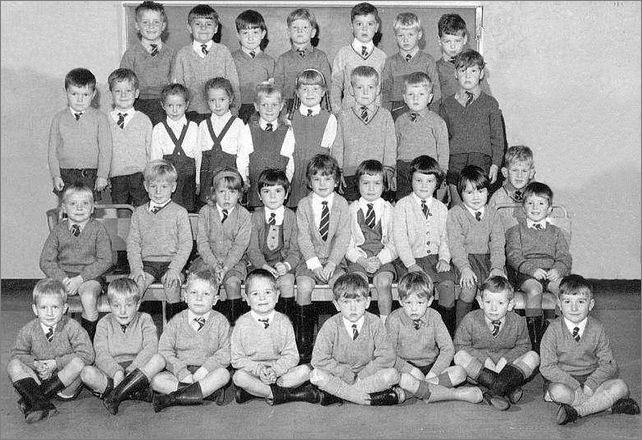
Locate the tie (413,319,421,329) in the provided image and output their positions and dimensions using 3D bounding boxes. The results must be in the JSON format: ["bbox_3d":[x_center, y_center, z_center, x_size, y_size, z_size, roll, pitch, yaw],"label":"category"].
[{"bbox_3d":[0.698,0.757,5.062,0.061,0.076,0.021,-1,-2,2],"label":"tie"}]

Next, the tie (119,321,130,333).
[{"bbox_3d":[-1.414,0.775,4.999,0.052,0.063,0.024,0,-3,-3],"label":"tie"}]

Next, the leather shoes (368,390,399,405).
[{"bbox_3d":[0.443,1.240,4.855,0.243,0.074,0.099,-3,9,-5],"label":"leather shoes"}]

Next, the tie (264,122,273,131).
[{"bbox_3d":[-0.451,-0.813,6.019,0.081,0.073,0.018,0,-4,3],"label":"tie"}]

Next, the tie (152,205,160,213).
[{"bbox_3d":[-1.330,-0.102,5.632,0.067,0.036,0.034,-2,-1,7],"label":"tie"}]

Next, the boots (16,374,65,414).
[{"bbox_3d":[-1.891,1.225,4.762,0.175,0.289,0.303,-36,-48,12],"label":"boots"}]

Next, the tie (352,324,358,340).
[{"bbox_3d":[0.241,0.800,4.937,0.063,0.098,0.024,0,-9,1],"label":"tie"}]

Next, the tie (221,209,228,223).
[{"bbox_3d":[-0.779,-0.041,5.627,0.054,0.094,0.024,2,-8,4],"label":"tie"}]

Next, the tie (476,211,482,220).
[{"bbox_3d":[1.280,-0.038,5.635,0.050,0.061,0.015,-1,-3,-9],"label":"tie"}]

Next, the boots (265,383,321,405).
[{"bbox_3d":[-0.185,1.218,4.836,0.388,0.126,0.163,-1,1,0],"label":"boots"}]

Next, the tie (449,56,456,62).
[{"bbox_3d":[1.248,-1.522,6.544,0.063,0.023,0.080,9,-37,-4],"label":"tie"}]

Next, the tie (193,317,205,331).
[{"bbox_3d":[-0.876,0.750,5.008,0.108,0.093,0.018,-1,1,-2],"label":"tie"}]

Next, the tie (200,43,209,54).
[{"bbox_3d":[-1.091,-1.624,6.529,0.059,0.088,0.022,-34,8,-7],"label":"tie"}]

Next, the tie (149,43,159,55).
[{"bbox_3d":[-1.587,-1.634,6.600,0.101,0.112,0.035,-2,6,-14],"label":"tie"}]

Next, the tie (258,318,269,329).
[{"bbox_3d":[-0.411,0.741,4.972,0.079,0.072,0.023,-3,-3,-1],"label":"tie"}]

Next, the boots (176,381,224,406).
[{"bbox_3d":[-0.843,1.220,4.871,0.396,0.158,0.124,10,-17,-11],"label":"boots"}]

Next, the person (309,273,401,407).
[{"bbox_3d":[0.212,0.800,5.099,0.877,0.947,0.823,-1,13,-8],"label":"person"}]

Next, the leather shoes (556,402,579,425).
[{"bbox_3d":[1.646,1.289,4.610,0.192,0.127,0.067,-1,2,-25],"label":"leather shoes"}]

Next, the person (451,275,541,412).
[{"bbox_3d":[1.263,0.873,5.037,0.673,0.866,0.908,0,11,9],"label":"person"}]

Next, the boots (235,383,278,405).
[{"bbox_3d":[-0.434,1.226,4.865,0.317,0.121,0.282,-3,-11,-6],"label":"boots"}]

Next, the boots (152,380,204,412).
[{"bbox_3d":[-0.997,1.208,4.782,0.391,0.155,0.130,8,-11,-41],"label":"boots"}]

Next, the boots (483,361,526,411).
[{"bbox_3d":[1.279,1.164,4.845,0.292,0.271,0.214,0,2,9],"label":"boots"}]

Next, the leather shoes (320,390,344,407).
[{"bbox_3d":[0.072,1.248,4.872,0.118,0.071,0.111,0,-6,-7],"label":"leather shoes"}]

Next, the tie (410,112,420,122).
[{"bbox_3d":[0.824,-0.914,6.122,0.084,0.076,0.027,4,-5,13],"label":"tie"}]

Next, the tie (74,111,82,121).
[{"bbox_3d":[-2.155,-0.930,6.159,0.077,0.068,0.018,-1,-1,6],"label":"tie"}]

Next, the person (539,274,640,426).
[{"bbox_3d":[1.848,0.873,4.792,0.605,0.948,0.445,0,2,-4],"label":"person"}]

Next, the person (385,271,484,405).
[{"bbox_3d":[0.996,0.777,5.134,0.729,0.877,0.904,-11,17,-8],"label":"person"}]

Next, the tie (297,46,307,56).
[{"bbox_3d":[-0.183,-1.615,6.616,0.087,0.088,0.039,-1,-6,-1],"label":"tie"}]

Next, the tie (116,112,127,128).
[{"bbox_3d":[-1.781,-0.903,6.202,0.074,0.120,0.042,3,-3,-3],"label":"tie"}]

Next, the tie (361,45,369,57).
[{"bbox_3d":[0.426,-1.607,6.559,0.064,0.094,0.024,1,0,-1],"label":"tie"}]

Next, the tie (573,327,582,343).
[{"bbox_3d":[1.815,0.810,4.907,0.052,0.082,0.022,-3,3,8],"label":"tie"}]

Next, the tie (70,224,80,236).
[{"bbox_3d":[-1.933,0.078,5.480,0.070,0.086,0.021,-2,9,-12],"label":"tie"}]

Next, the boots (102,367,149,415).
[{"bbox_3d":[-1.327,1.171,4.768,0.299,0.294,0.165,-1,2,-15],"label":"boots"}]
